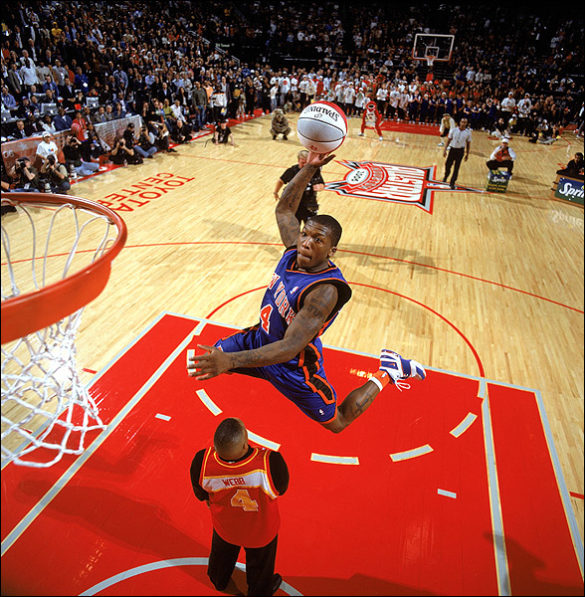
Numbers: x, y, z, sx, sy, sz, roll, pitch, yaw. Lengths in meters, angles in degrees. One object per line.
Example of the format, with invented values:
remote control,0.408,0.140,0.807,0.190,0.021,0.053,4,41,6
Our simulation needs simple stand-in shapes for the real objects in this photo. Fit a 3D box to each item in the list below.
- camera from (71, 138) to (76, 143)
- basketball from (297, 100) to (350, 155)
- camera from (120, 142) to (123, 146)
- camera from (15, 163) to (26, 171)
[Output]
camera,-4.424,-3.185,8.793,0.076,0.019,0.074,30,-11,-38
basketball,0.224,-1.465,3.714,0.414,0.381,0.418,9,27,15
camera,-3.807,-3.430,9.673,0.079,0.066,0.018,2,4,-10
camera,-4.469,-2.180,7.160,0.142,0.090,0.070,-16,31,-32
